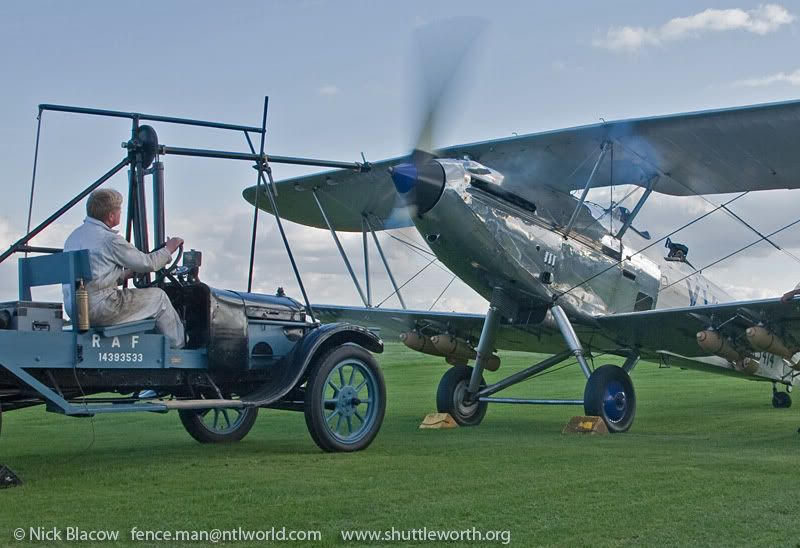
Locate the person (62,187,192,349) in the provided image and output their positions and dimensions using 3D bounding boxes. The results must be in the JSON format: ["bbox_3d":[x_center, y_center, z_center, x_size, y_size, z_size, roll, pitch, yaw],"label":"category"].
[{"bbox_3d":[-2.985,-0.043,7.486,0.976,1.744,0.558,-1,2,-42],"label":"person"}]
